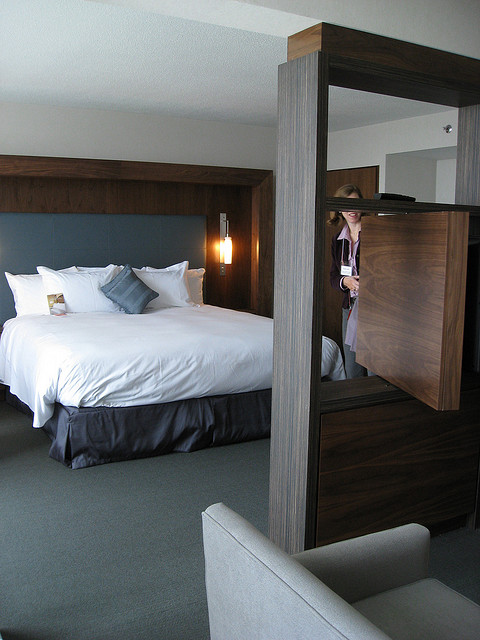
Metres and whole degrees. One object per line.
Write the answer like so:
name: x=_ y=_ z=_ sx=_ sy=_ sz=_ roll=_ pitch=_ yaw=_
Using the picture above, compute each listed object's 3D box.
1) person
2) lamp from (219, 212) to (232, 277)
person: x=0.480 y=-0.145 z=2.154 sx=0.178 sy=0.888 sz=0.689 roll=1 pitch=4 yaw=12
lamp: x=-0.176 y=-0.882 z=5.673 sx=0.152 sy=0.697 sz=0.134 roll=0 pitch=4 yaw=-12
